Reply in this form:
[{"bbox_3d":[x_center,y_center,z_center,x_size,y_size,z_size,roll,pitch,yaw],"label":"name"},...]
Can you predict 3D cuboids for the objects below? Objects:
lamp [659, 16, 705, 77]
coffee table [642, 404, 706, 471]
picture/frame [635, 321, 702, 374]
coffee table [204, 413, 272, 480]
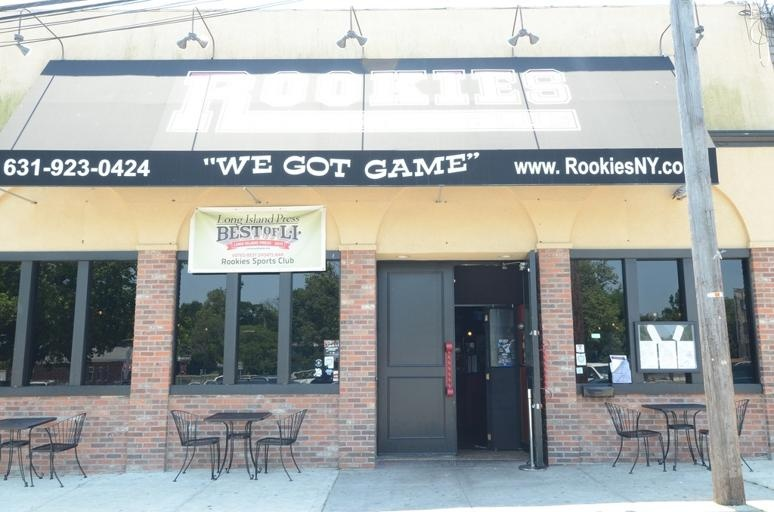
[{"bbox_3d":[6.209,-4.460,15.835,0.881,1.261,1.355,2,8,19],"label":"lamp"},{"bbox_3d":[5.929,3.549,14.963,1.266,1.062,1.261,-1,-9,-5],"label":"coffee table"},{"bbox_3d":[5.733,1.889,15.191,1.403,1.092,0.102,0,-14,1],"label":"picture/frame"},{"bbox_3d":[-2.917,3.682,14.577,1.313,1.156,1.258,0,-15,-4],"label":"coffee table"}]
